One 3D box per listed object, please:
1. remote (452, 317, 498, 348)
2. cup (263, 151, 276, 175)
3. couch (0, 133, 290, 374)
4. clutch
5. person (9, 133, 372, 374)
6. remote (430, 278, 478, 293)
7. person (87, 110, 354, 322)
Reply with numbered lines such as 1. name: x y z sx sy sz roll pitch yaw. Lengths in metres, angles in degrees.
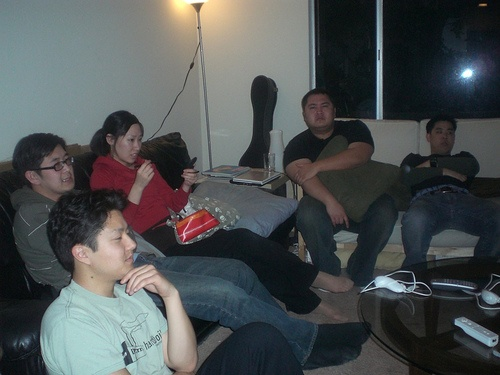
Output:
1. remote: 0.928 0.588 1.688 0.068 0.040 0.164 -7 15 -23
2. cup: 0.179 -0.201 3.361 0.128 0.217 0.133 -3 14 1
3. couch: -0.563 0.422 2.005 1.427 0.927 0.755 20 23 1
4. clutch: -0.339 0.248 2.519 0.261 0.102 0.351 -28 21 -13
5. person: -0.306 0.200 2.501 2.055 1.352 0.902 7 18 -1
6. remote: 0.961 0.461 1.922 0.153 0.038 0.078 0 2 20
7. person: -0.193 0.139 2.471 1.570 1.042 0.636 11 31 15
